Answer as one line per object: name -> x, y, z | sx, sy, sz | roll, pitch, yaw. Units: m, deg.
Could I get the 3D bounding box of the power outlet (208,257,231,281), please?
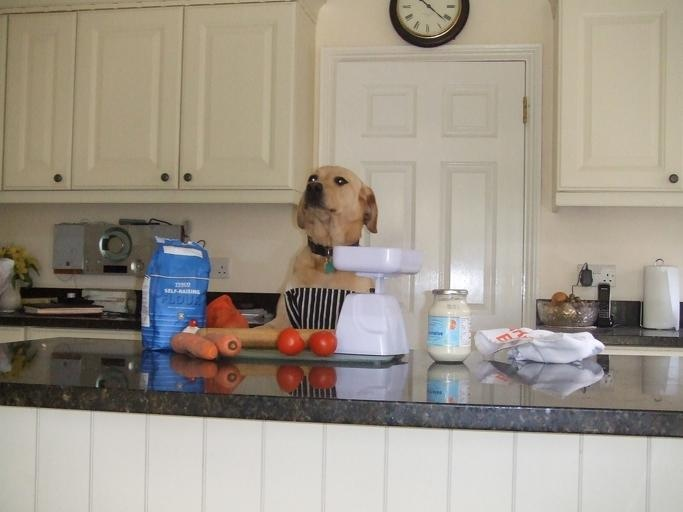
power outlet -> -0.587, 0.060, 3.735 | 0.108, 0.119, 0.012 | 0, -7, 2

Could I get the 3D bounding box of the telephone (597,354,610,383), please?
telephone -> 0.711, 0.307, 2.121 | 0.027, 0.059, 0.030 | -1, -5, 7

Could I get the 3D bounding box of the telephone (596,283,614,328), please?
telephone -> 1.190, 0.220, 3.552 | 0.061, 0.196, 0.131 | 0, -1, 17

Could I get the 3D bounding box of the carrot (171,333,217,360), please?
carrot -> -0.419, 0.222, 2.167 | 0.060, 0.059, 0.199 | -14, 17, -34

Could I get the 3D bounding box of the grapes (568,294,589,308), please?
grapes -> 1.039, 0.198, 3.419 | 0.061, 0.027, 0.066 | 8, -6, -1

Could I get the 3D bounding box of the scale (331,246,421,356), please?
scale -> 0.097, 0.130, 2.242 | 0.244, 0.330, 0.228 | 4, 0, 15

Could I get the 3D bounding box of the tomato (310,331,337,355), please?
tomato -> -0.051, 0.236, 2.121 | 0.058, 0.068, 0.064 | 1, -7, 9

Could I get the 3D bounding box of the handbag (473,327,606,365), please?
handbag -> 0.526, 0.235, 2.140 | 0.205, 0.072, 0.156 | 1, -1, 6

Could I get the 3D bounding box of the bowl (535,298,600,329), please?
bowl -> 0.995, 0.251, 3.448 | 0.251, 0.122, 0.143 | 0, -1, 18

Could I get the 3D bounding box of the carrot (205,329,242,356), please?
carrot -> -0.335, 0.240, 2.172 | 0.088, 0.071, 0.141 | 1, -1, -23

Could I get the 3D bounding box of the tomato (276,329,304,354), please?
tomato -> -0.145, 0.235, 2.138 | 0.062, 0.071, 0.064 | 1, 8, -1

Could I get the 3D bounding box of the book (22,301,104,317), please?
book -> -1.338, 0.250, 3.740 | 0.351, 0.050, 0.363 | 1, -1, -24
